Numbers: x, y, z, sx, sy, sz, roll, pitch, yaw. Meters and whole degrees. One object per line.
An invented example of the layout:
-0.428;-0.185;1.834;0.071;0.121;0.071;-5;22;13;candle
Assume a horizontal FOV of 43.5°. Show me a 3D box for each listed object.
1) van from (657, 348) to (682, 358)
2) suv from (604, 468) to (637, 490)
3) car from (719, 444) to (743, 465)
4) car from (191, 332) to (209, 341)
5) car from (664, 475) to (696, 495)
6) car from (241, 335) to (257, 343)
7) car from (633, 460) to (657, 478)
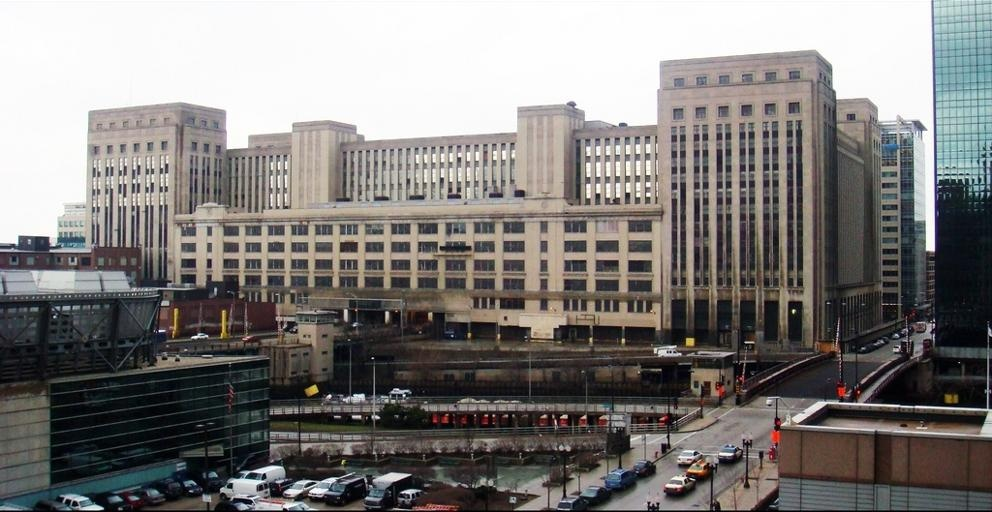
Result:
34.303;19.040;245.881;3.277;1.431;2.147;-5;0;7;van
19.454;34.217;191.485;5.202;2.287;1.811;0;-1;-34;suv
37.550;31.395;198.571;4.282;2.221;2.414;0;-1;-41;car
-61.751;16.747;261.342;2.020;0.867;2.965;0;3;-30;car
28.164;34.830;189.925;4.457;2.164;2.107;0;-1;-34;car
-50.181;16.692;254.072;2.438;0.644;1.408;2;2;45;car
23.642;33.051;194.632;3.931;1.810;1.231;-1;-1;-31;car
